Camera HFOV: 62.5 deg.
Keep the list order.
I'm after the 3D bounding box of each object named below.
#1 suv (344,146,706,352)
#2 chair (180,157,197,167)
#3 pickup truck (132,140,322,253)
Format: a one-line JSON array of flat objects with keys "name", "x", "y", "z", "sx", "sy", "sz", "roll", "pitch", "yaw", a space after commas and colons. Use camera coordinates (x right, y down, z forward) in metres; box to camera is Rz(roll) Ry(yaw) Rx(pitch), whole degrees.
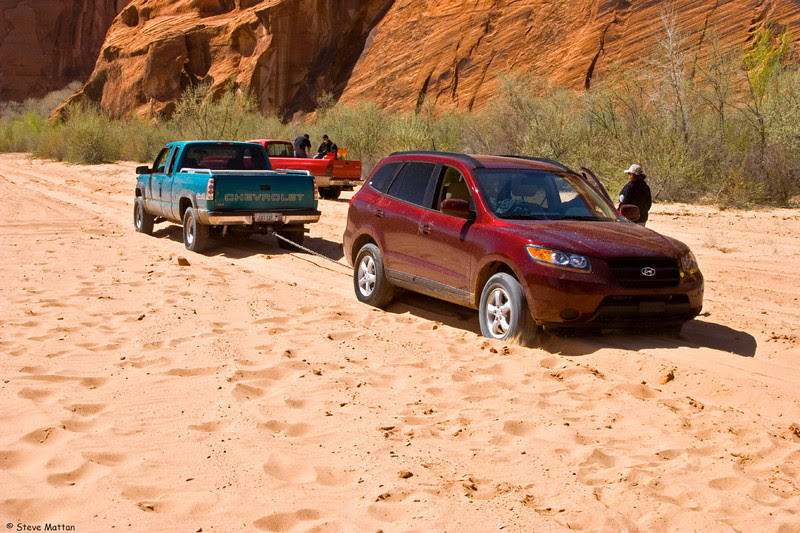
[{"name": "suv", "x": 1.329, "y": -0.373, "z": 9.152, "sx": 2.541, "sy": 1.722, "sz": 4.459, "roll": 0, "pitch": 6, "yaw": -35}, {"name": "chair", "x": -4.558, "y": -2.236, "z": 14.271, "sx": 0.247, "sy": 0.207, "sz": 0.409, "roll": 2, "pitch": -5, "yaw": -19}, {"name": "pickup truck", "x": -4.248, "y": -1.671, "z": 14.731, "sx": 5.169, "sy": 2.251, "sz": 2.310, "roll": 15, "pitch": 21, "yaw": 43}]
